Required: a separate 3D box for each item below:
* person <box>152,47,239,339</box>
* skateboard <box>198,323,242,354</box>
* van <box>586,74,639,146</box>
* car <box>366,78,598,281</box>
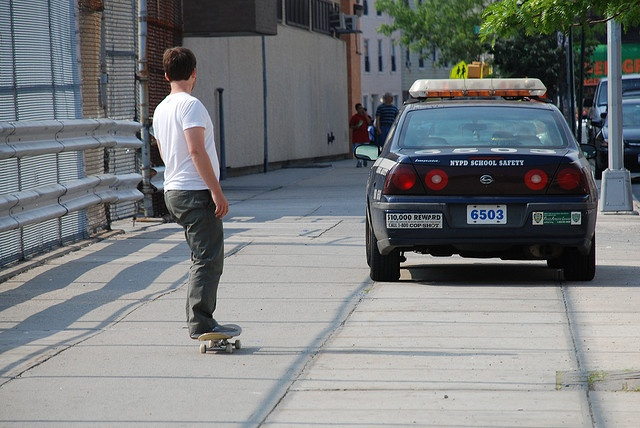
[{"bbox_3d":[-1.014,0.021,7.908,0.687,2.000,0.359,0,10,6],"label":"person"},{"bbox_3d":[-0.838,1.032,7.923,0.234,0.127,0.687,0,-2,4],"label":"skateboard"},{"bbox_3d":[7.702,-2.942,25.087,1.317,1.180,2.776,-1,4,4],"label":"van"},{"bbox_3d":[1.985,0.051,11.544,2.494,1.899,4.195,-1,-8,6],"label":"car"}]
